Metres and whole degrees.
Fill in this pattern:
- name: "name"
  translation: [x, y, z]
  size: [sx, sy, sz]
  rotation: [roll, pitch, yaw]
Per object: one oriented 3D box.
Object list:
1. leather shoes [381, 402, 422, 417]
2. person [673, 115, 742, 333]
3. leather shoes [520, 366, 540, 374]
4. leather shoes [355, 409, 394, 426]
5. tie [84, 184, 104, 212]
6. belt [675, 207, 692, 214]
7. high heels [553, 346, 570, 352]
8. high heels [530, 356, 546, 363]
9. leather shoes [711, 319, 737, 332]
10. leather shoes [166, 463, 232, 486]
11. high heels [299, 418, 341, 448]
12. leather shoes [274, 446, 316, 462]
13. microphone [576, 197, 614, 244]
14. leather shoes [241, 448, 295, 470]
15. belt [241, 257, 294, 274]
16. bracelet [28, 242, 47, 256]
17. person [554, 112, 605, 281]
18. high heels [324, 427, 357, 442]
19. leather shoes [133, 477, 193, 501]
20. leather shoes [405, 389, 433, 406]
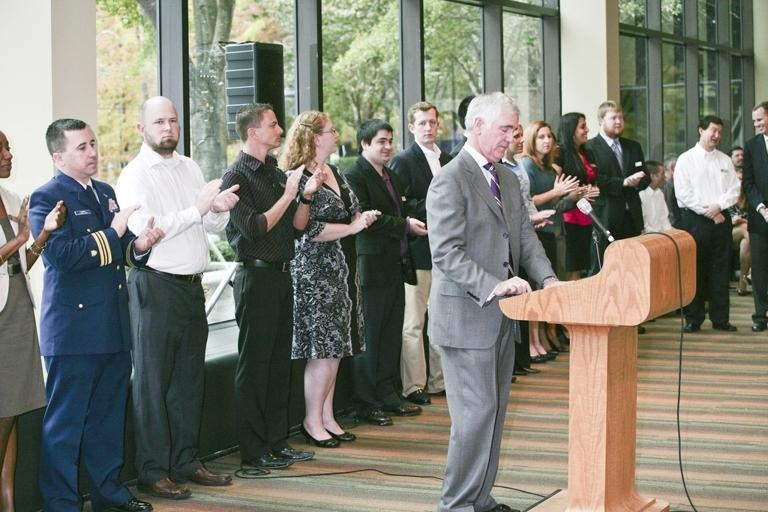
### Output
- name: "leather shoes"
  translation: [0.141, 1.178, 7.035]
  size: [0.259, 0.117, 0.123]
  rotation: [-1, -5, 4]
- name: "person"
  translation: [3.307, -0.314, 9.277]
  size: [0.620, 2.193, 0.578]
  rotation: [0, 6, 24]
- name: "leather shoes"
  translation: [1.284, 0.992, 7.961]
  size: [0.181, 0.060, 0.066]
  rotation: [4, -7, -16]
- name: "leather shoes"
  translation: [-0.071, 1.219, 6.877]
  size: [0.283, 0.135, 0.109]
  rotation: [-3, -6, 24]
- name: "tie"
  translation: [-1.753, -0.346, 5.483]
  size: [0.082, 0.156, 0.036]
  rotation: [-22, -8, -39]
- name: "belt"
  translation: [3.136, -0.475, 9.454]
  size: [0.090, 0.047, 0.116]
  rotation: [16, 8, 17]
- name: "high heels"
  translation: [1.703, 0.886, 8.696]
  size: [0.165, 0.050, 0.063]
  rotation: [-5, -4, 37]
- name: "high heels"
  translation: [1.418, 0.944, 8.325]
  size: [0.056, 0.045, 0.142]
  rotation: [2, -5, -42]
- name: "leather shoes"
  translation: [3.531, 0.724, 9.392]
  size: [0.102, 0.116, 0.250]
  rotation: [-1, -1, -38]
- name: "leather shoes"
  translation: [-1.181, 1.384, 5.865]
  size: [0.420, 0.180, 0.150]
  rotation: [-1, -2, 1]
- name: "high heels"
  translation: [-0.487, 1.285, 6.480]
  size: [0.328, 0.181, 0.117]
  rotation: [-3, 0, 21]
- name: "leather shoes"
  translation: [-0.602, 1.331, 6.161]
  size: [0.280, 0.126, 0.101]
  rotation: [-1, -2, 3]
- name: "microphone"
  translation: [1.796, -0.320, 7.711]
  size: [0.119, 0.418, 0.105]
  rotation: [-30, -6, -32]
- name: "leather shoes"
  translation: [-0.776, 1.360, 6.093]
  size: [0.262, 0.116, 0.137]
  rotation: [0, -5, 2]
- name: "belt"
  translation: [-0.790, 0.065, 5.986]
  size: [0.328, 0.116, 0.093]
  rotation: [-4, 7, -14]
- name: "bracelet"
  translation: [-2.025, -0.045, 5.267]
  size: [0.060, 0.066, 0.083]
  rotation: [3, 0, -6]
- name: "person"
  translation: [1.827, -0.423, 8.406]
  size: [0.461, 1.752, 0.511]
  rotation: [5, 11, 45]
- name: "high heels"
  translation: [-0.315, 1.276, 6.518]
  size: [0.224, 0.075, 0.088]
  rotation: [-5, -5, 23]
- name: "leather shoes"
  translation: [-1.364, 1.449, 5.640]
  size: [0.349, 0.162, 0.138]
  rotation: [0, -2, 10]
- name: "leather shoes"
  translation: [0.280, 1.133, 7.275]
  size: [0.213, 0.094, 0.092]
  rotation: [-6, -5, 42]
